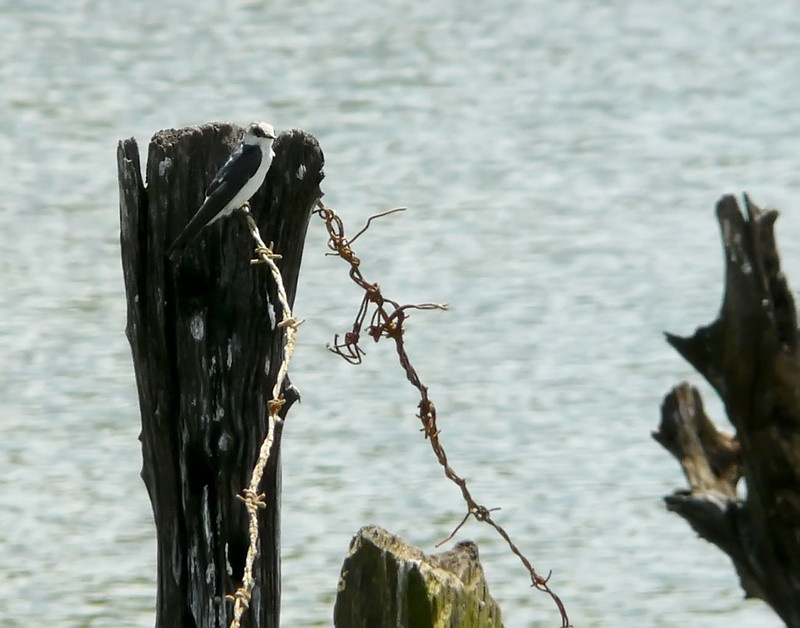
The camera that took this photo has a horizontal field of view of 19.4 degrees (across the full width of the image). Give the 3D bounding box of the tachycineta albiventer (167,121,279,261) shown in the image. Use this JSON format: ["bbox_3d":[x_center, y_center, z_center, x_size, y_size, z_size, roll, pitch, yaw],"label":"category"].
[{"bbox_3d":[-1.492,-1.006,19.075,1.333,0.559,0.359,-34,-32,6],"label":"tachycineta albiventer"}]
